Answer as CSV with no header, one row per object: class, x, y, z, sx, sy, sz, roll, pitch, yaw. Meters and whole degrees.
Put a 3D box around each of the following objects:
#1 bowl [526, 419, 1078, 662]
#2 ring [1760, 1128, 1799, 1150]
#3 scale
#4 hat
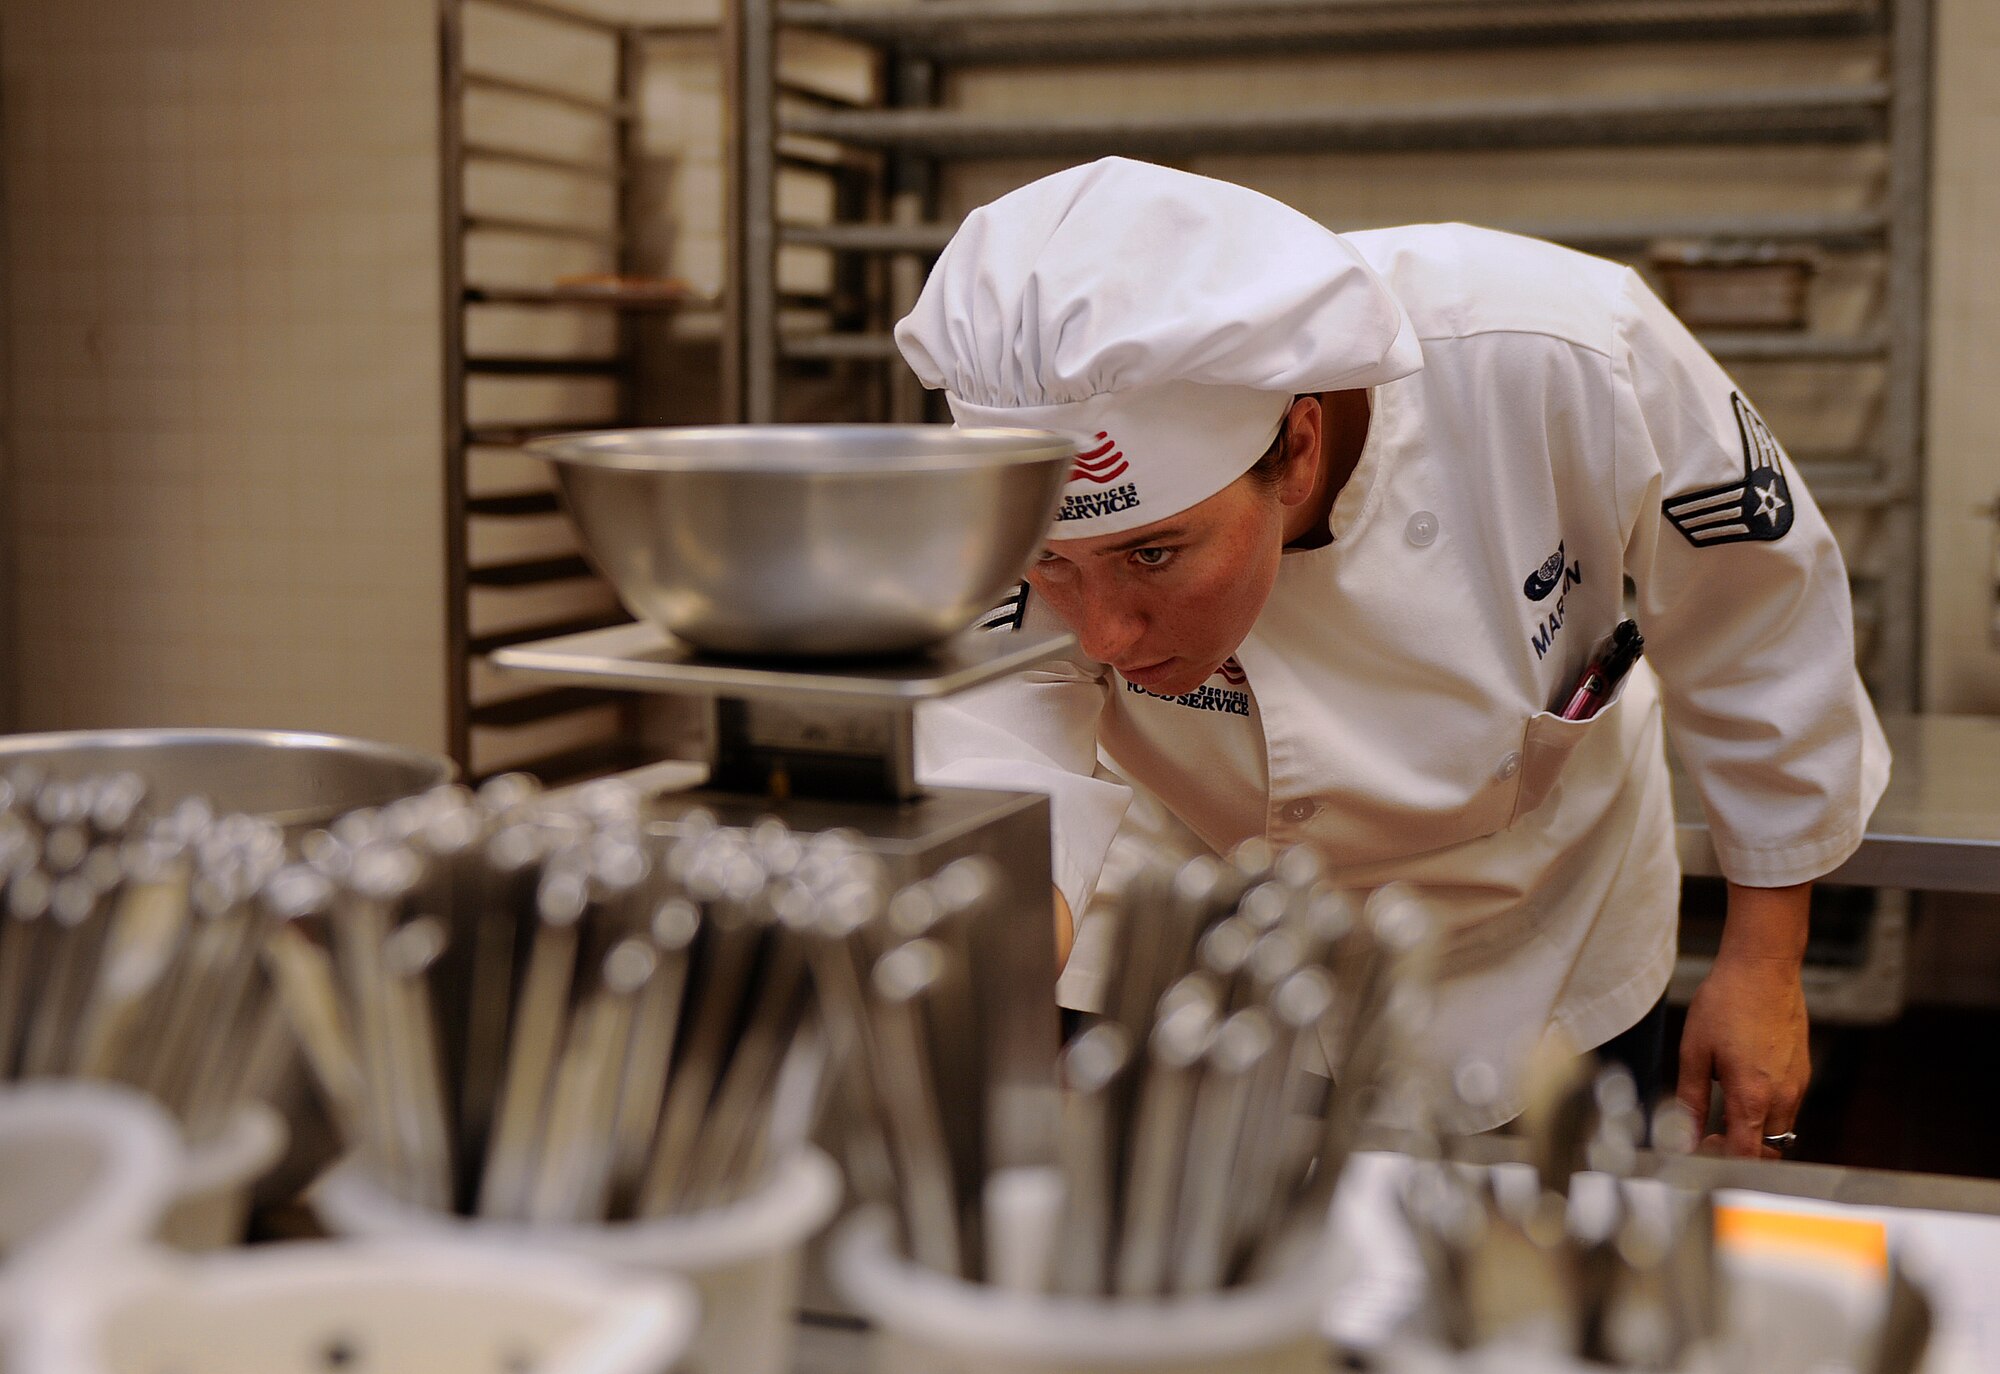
bowl,-0.139,-0.107,1.595,0.389,0.149,0.406,0,9,0
ring,0.760,0.439,2.126,0.032,0.017,0.040,-2,-6,3
scale,-0.129,-0.043,1.605,0.373,0.268,0.401,5,8,13
hat,0.144,-0.312,1.830,0.355,0.208,0.365,14,52,34
